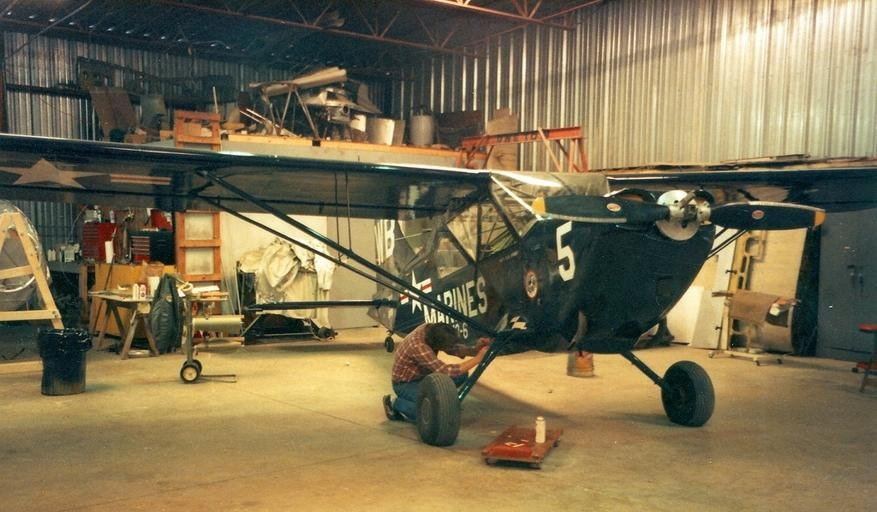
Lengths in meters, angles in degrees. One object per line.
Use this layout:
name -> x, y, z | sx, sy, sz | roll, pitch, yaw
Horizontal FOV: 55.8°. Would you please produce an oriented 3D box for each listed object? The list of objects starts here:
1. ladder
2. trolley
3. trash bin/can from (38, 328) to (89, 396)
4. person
ladder -> -5.082, -0.882, 17.432 | 1.853, 4.486, 1.189 | 2, 0, -29
trolley -> -4.059, 1.360, 14.853 | 1.396, 1.624, 0.889 | 1, -3, -28
trash bin/can -> -6.347, 1.833, 14.010 | 0.904, 0.891, 0.811 | -1, -10, -25
person -> -0.095, 1.759, 13.080 | 1.950, 1.405, 1.006 | -2, 0, -2
